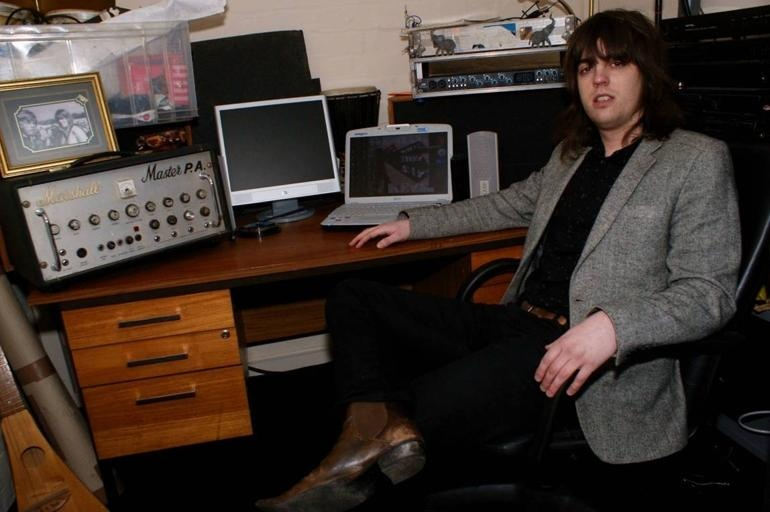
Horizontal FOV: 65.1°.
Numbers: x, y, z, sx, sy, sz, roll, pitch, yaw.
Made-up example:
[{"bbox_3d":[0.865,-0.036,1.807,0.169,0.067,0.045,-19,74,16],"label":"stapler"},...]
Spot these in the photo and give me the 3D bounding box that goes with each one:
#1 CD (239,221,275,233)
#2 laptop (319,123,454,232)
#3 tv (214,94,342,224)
[{"bbox_3d":[-0.524,-0.118,2.474,0.076,0.025,0.075,9,19,31],"label":"CD"},{"bbox_3d":[0.040,-0.375,2.621,0.576,0.367,0.487,-1,16,10],"label":"laptop"},{"bbox_3d":[-0.471,-0.419,2.613,0.567,0.512,0.256,-8,11,-12],"label":"tv"}]
